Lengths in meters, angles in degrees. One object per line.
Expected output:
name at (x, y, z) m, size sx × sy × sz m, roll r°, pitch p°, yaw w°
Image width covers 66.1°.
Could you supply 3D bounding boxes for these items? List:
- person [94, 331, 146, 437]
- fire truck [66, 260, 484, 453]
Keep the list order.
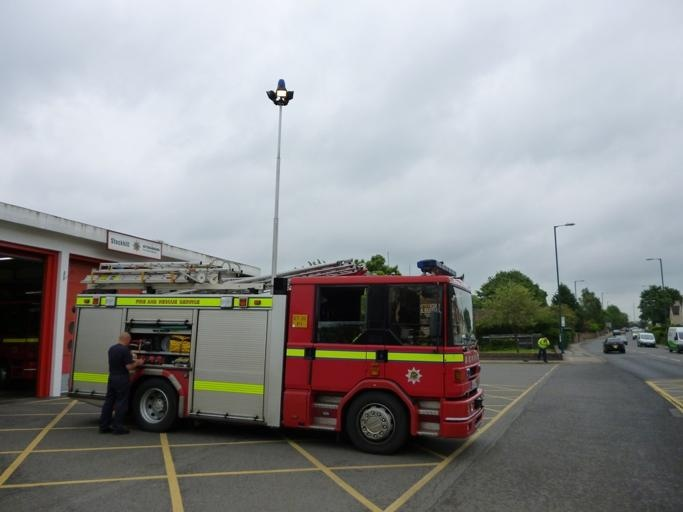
person at (-4.818, 2.816, 11.477) m, size 0.810 × 2.217 × 0.855 m, roll 0°, pitch -2°, yaw -10°
fire truck at (-1.140, 1.902, 12.493) m, size 9.578 × 4.311 × 3.831 m, roll -4°, pitch -6°, yaw 20°
